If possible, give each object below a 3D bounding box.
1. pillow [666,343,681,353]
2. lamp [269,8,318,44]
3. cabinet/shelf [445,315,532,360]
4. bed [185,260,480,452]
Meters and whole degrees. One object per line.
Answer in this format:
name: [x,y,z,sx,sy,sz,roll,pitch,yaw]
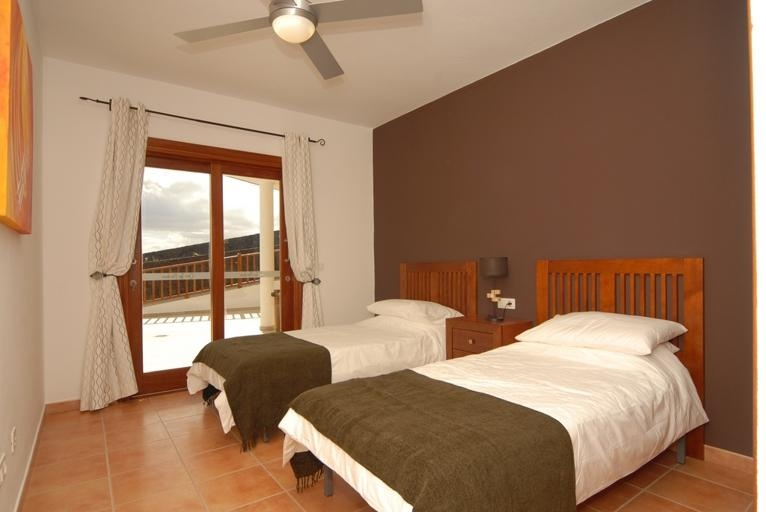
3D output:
pillow: [2.311,0.722,4.097,0.100,0.032,0.107,-6,19,-6]
lamp: [-0.678,-1.751,3.892,0.278,0.194,0.225,7,15,33]
cabinet/shelf: [1.026,0.707,5.137,0.431,0.618,0.616,2,-3,-38]
bed: [-0.341,0.908,5.288,2.410,1.617,1.599,-1,1,-40]
